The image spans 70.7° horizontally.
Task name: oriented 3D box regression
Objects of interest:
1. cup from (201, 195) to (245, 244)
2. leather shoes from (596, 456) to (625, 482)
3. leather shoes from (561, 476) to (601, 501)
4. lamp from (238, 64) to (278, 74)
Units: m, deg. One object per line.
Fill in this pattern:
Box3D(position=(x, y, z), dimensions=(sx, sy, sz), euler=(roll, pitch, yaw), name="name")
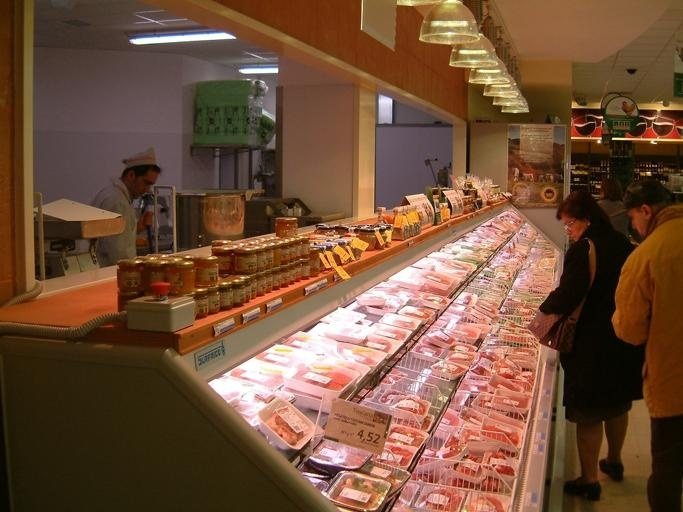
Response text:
Box3D(position=(-0.499, -0.158, 2.070), dimensions=(0.202, 0.223, 0.205), euler=(2, 6, 0), name="cup")
Box3D(position=(2.050, 1.608, 3.643), dimensions=(0.080, 0.089, 0.227), euler=(-3, 4, 2), name="leather shoes")
Box3D(position=(1.706, 1.627, 3.462), dimensions=(0.283, 0.124, 0.105), euler=(8, 12, 40), name="leather shoes")
Box3D(position=(-2.014, -4.429, 11.352), dimensions=(0.814, 0.092, 0.138), euler=(-11, -33, -17), name="lamp")
